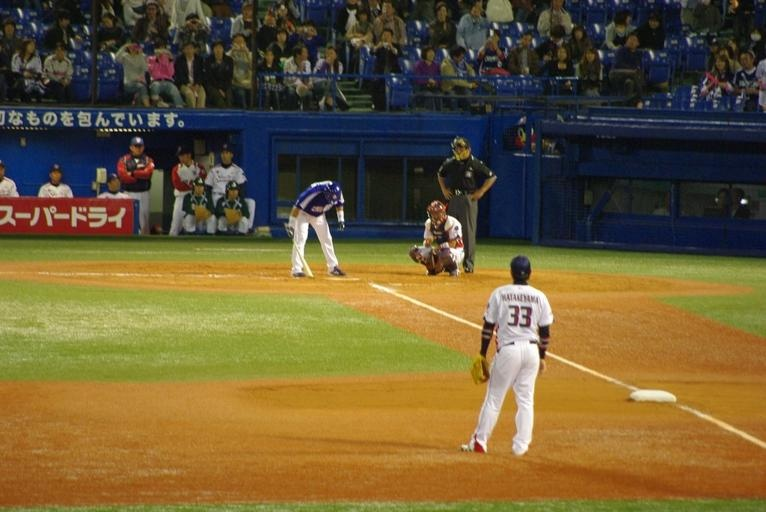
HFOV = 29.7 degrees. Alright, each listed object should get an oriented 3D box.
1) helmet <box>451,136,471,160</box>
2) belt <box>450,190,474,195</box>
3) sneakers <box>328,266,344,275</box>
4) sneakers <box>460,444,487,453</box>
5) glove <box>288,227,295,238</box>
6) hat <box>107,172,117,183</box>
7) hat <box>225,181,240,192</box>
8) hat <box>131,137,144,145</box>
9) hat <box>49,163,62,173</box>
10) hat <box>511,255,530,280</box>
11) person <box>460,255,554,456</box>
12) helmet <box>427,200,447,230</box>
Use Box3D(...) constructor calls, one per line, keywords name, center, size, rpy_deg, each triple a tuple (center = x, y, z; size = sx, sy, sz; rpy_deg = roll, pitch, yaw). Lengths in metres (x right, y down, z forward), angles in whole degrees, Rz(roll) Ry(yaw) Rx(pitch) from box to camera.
Box3D(name="helmet", center=(1.898, -2.587, 34.840), size=(0.370, 0.504, 0.451), rpy_deg=(1, 5, 0))
Box3D(name="belt", center=(1.938, -1.545, 34.925), size=(0.472, 0.146, 0.131), rpy_deg=(0, 5, -7))
Box3D(name="sneakers", center=(-1.105, 0.346, 34.820), size=(0.415, 0.195, 0.159), rpy_deg=(-5, 22, -26))
Box3D(name="sneakers", center=(1.631, 3.420, 25.728), size=(0.313, 0.137, 0.203), rpy_deg=(7, -1, 4))
Box3D(name="glove", center=(-2.175, -0.558, 34.111), size=(0.120, 0.233, 0.140), rpy_deg=(-2, -3, -4))
Box3D(name="hat", center=(-8.070, -2.333, 42.545), size=(0.427, 0.257, 0.304), rpy_deg=(6, 7, 39))
Box3D(name="hat", center=(-4.447, -2.099, 43.082), size=(0.295, 0.287, 0.539), rpy_deg=(6, 7, 44))
Box3D(name="hat", center=(-7.298, -3.373, 42.478), size=(0.291, 0.252, 0.457), rpy_deg=(2, 3, -20))
Box3D(name="hat", center=(-9.694, -2.585, 42.415), size=(0.311, 0.199, 0.514), rpy_deg=(1, 6, -16))
Box3D(name="hat", center=(2.477, 0.197, 25.649), size=(0.310, 0.463, 0.432), rpy_deg=(2, 36, -1))
Box3D(name="person", center=(2.309, 1.767, 25.585), size=(1.334, 3.542, 0.488), rpy_deg=(1, 5, 4))
Box3D(name="helmet", center=(1.312, -1.086, 34.339), size=(0.420, 0.623, 0.614), rpy_deg=(-8, 30, 7))
